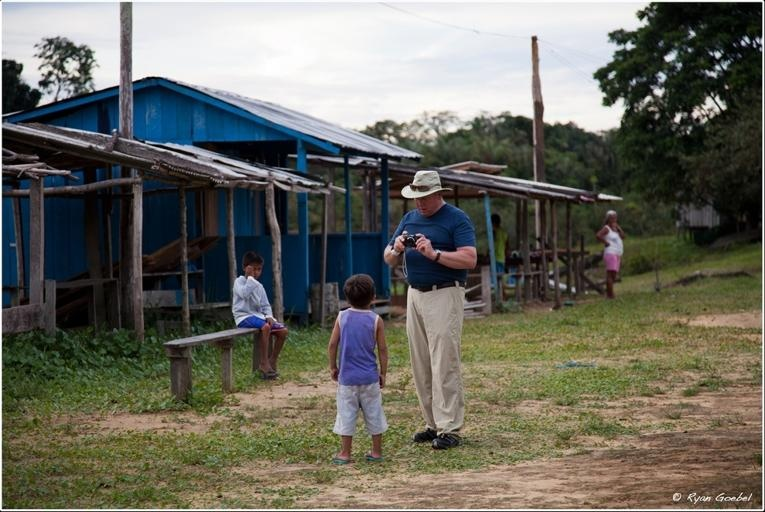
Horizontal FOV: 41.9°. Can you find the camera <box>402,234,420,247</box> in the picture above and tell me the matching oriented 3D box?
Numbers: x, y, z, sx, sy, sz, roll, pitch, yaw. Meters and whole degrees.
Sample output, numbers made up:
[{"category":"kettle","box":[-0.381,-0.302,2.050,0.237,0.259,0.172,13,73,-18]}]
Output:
[{"category":"camera","box":[0.411,-0.241,15.560,0.243,0.173,0.174,0,4,2]}]

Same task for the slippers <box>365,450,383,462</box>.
[{"category":"slippers","box":[-0.139,3.045,15.199,0.240,0.104,0.110,7,6,30]}]

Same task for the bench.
[{"category":"bench","box":[-2.927,1.900,18.399,0.515,1.063,2.853,3,7,29]}]

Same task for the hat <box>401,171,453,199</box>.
[{"category":"hat","box":[0.752,-1.143,15.804,0.502,0.255,0.593,3,13,36]}]

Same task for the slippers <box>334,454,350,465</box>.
[{"category":"slippers","box":[-0.638,3.098,15.217,0.225,0.106,0.104,5,2,14]}]

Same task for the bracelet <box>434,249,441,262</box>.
[{"category":"bracelet","box":[0.831,-0.011,15.430,0.049,0.137,0.103,12,-12,-28]}]

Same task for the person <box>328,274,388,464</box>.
[{"category":"person","box":[-0.385,1.714,15.361,0.861,2.702,0.964,-2,12,-2]}]
